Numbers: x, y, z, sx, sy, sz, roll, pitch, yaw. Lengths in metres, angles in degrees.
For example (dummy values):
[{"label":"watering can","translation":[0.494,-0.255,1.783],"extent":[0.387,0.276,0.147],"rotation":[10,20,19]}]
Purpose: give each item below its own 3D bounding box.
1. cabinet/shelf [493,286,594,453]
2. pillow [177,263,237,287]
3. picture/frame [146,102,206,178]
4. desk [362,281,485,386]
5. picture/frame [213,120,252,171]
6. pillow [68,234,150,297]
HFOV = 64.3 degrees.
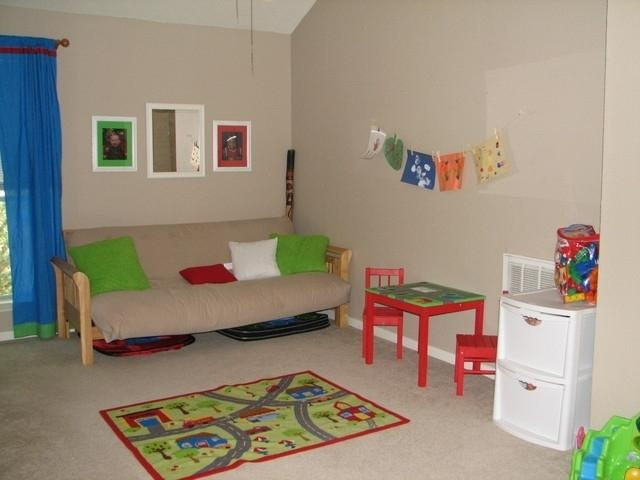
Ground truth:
[{"label":"cabinet/shelf","translation":[1.472,0.792,3.162],"extent":[0.607,0.803,0.548],"rotation":[4,0,-29]},{"label":"pillow","translation":[-1.046,0.310,4.687],"extent":[0.270,0.073,0.248],"rotation":[-5,21,-26]},{"label":"picture/frame","translation":[-1.479,-1.029,5.126],"extent":[0.744,0.937,0.058],"rotation":[-4,9,-29]},{"label":"desk","translation":[0.775,0.611,3.874],"extent":[0.738,0.616,0.743],"rotation":[0,3,-1]},{"label":"picture/frame","translation":[-0.952,-1.016,5.402],"extent":[0.527,0.634,0.050],"rotation":[-4,9,-30]},{"label":"pillow","translation":[-1.778,0.208,4.331],"extent":[0.517,0.390,0.573],"rotation":[-7,12,-35]}]
